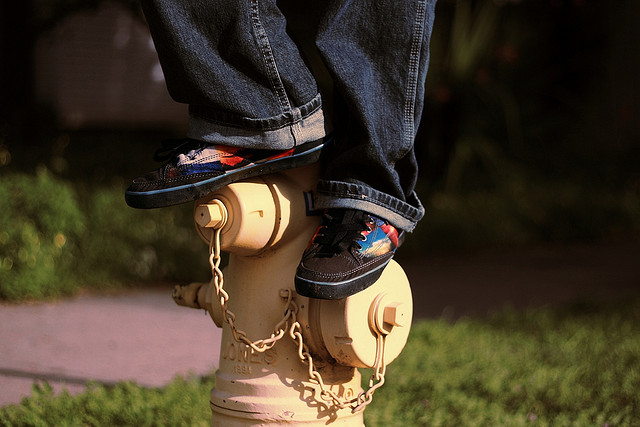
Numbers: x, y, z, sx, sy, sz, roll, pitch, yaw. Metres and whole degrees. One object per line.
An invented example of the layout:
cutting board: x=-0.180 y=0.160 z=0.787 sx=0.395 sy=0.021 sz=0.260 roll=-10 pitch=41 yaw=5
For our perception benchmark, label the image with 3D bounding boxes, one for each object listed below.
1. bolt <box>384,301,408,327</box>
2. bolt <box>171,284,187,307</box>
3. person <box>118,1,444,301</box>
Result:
bolt: x=0.250 y=0.307 z=2.239 sx=0.073 sy=0.085 sz=0.044 roll=-1 pitch=-1 yaw=-23
bolt: x=-0.460 y=0.278 z=2.458 sx=0.043 sy=0.068 sz=0.063 roll=-3 pitch=4 yaw=0
person: x=-0.166 y=-0.289 z=2.677 sx=1.051 sy=1.375 sz=0.907 roll=1 pitch=2 yaw=-33
